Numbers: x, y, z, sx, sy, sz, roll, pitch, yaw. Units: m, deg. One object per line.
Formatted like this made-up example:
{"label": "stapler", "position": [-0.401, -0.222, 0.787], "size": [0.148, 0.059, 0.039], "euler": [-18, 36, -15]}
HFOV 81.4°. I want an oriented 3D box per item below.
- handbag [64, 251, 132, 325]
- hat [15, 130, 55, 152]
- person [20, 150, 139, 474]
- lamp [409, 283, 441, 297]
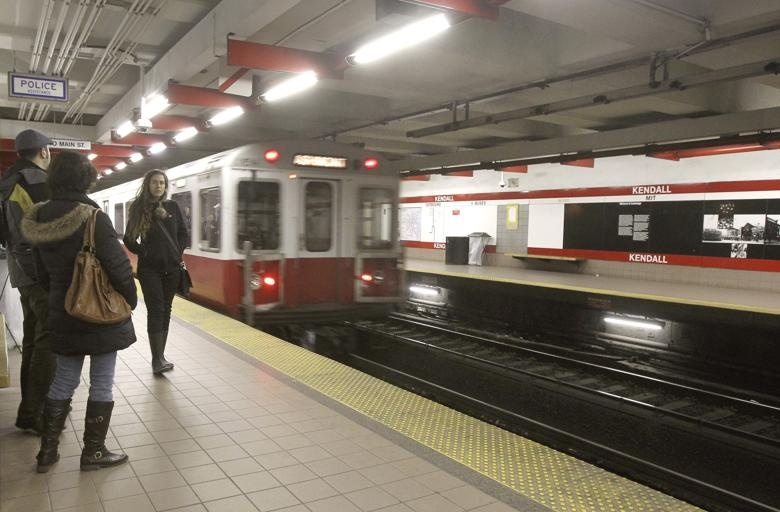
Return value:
{"label": "handbag", "position": [-2.314, 0.262, 3.615], "size": [0.439, 0.596, 0.183], "euler": [-4, 14, -29]}
{"label": "hat", "position": [-3.213, -1.038, 4.168], "size": [0.241, 0.139, 0.295], "euler": [11, 28, 20]}
{"label": "person", "position": [-2.549, 0.458, 3.817], "size": [0.844, 2.609, 0.675], "euler": [-1, 13, -16]}
{"label": "lamp", "position": [1.181, 1.060, 14.711], "size": [0.901, 0.174, 0.586], "euler": [1, 2, 43]}
